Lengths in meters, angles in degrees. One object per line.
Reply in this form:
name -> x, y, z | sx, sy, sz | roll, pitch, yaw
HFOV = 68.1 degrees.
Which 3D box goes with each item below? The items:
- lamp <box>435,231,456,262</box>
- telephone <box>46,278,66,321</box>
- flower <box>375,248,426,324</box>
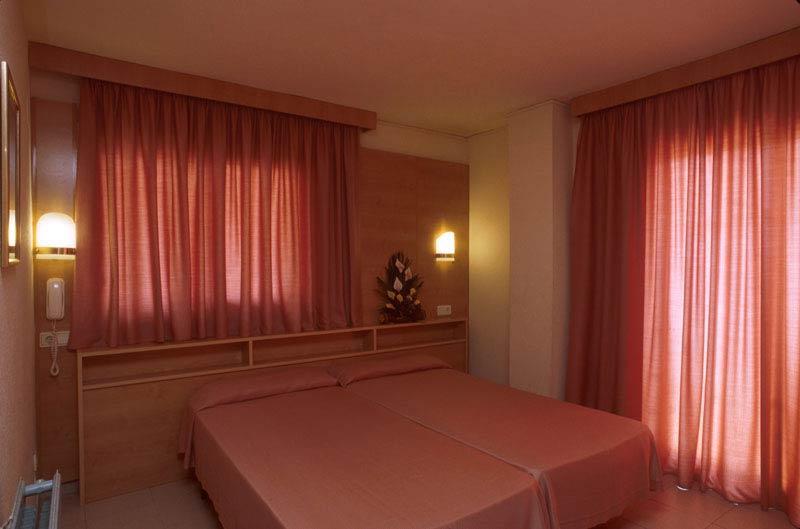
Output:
lamp -> 0.550, -0.195, 6.880 | 0.269, 0.346, 0.158 | -2, 2, -42
telephone -> -2.955, 0.304, 5.065 | 0.148, 0.366, 0.055 | -2, 2, -31
flower -> 0.007, 0.251, 6.528 | 0.491, 0.772, 0.224 | -2, 2, -33
